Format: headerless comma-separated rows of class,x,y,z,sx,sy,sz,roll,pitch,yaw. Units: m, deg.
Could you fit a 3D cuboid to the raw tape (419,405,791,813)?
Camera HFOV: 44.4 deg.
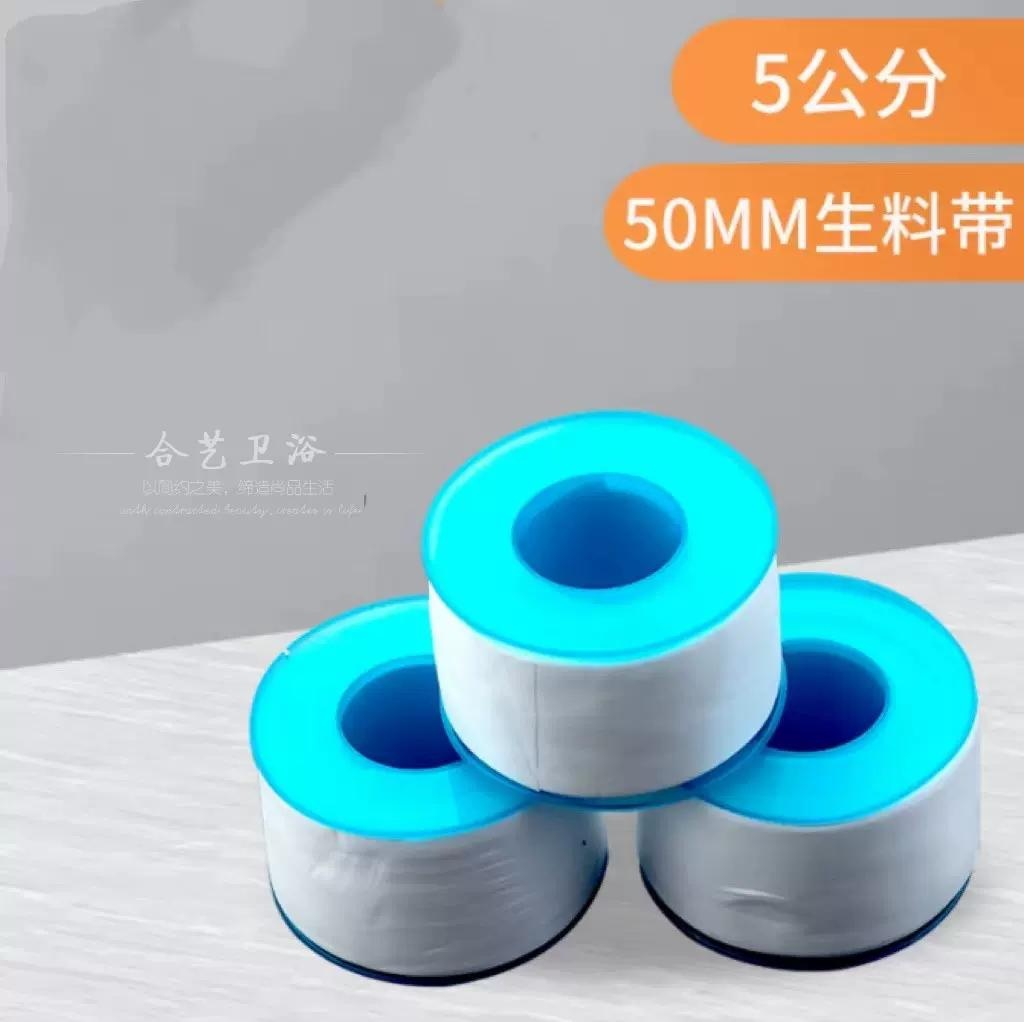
raw tape,0.069,0.074,1.008,0.273,0.250,0.270,-4,19,-5

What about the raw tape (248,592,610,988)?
raw tape,-0.072,0.250,1.145,0.275,0.188,0.294,4,33,12

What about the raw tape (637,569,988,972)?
raw tape,0.265,0.257,1.122,0.298,0.200,0.311,-3,55,9
